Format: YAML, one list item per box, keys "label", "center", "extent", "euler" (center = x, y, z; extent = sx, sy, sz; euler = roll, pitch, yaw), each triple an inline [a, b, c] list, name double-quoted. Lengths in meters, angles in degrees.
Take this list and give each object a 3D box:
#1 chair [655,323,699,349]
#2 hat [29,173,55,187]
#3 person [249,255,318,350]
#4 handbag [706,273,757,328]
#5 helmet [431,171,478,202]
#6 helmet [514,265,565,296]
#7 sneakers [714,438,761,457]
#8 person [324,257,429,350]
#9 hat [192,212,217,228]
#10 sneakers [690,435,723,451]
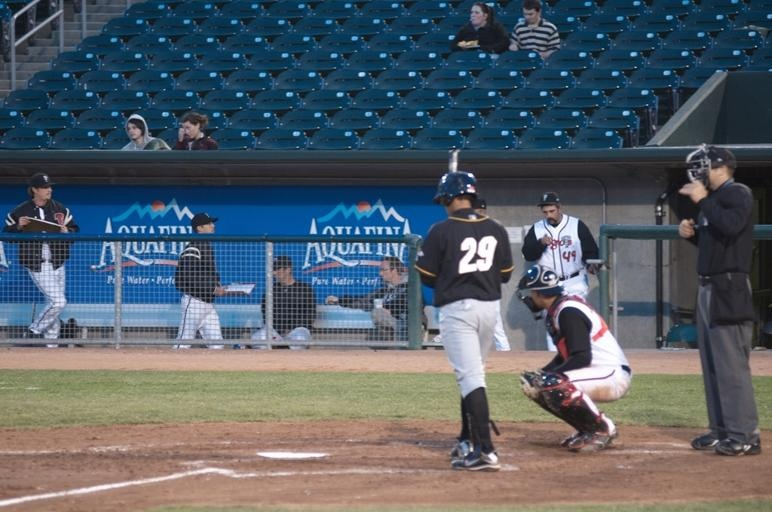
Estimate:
- label: "chair"
  center: [4.410, 1.229, 26.634]
  extent: [0.468, 0.210, 0.482]
  euler: [-3, -4, 37]
- label: "hat"
  center: [-5.159, -1.131, 26.492]
  extent: [0.357, 0.132, 0.207]
  euler: [-3, 4, 6]
- label: "person"
  center: [-1.369, 0.642, 26.333]
  extent: [0.652, 1.269, 0.145]
  euler: [-1, -8, -7]
- label: "handbag"
  center: [4.282, 0.568, 22.081]
  extent: [0.907, 0.664, 0.449]
  euler: [1, -21, 1]
- label: "helmet"
  center: [0.980, -0.850, 22.103]
  extent: [0.511, 0.379, 0.677]
  euler: [-9, 10, -44]
- label: "helmet"
  center: [1.928, 0.307, 22.416]
  extent: [0.572, 0.285, 0.352]
  euler: [12, -11, 3]
- label: "sneakers"
  center: [4.380, 2.414, 22.047]
  extent: [0.614, 0.196, 0.209]
  euler: [3, -4, -4]
- label: "person"
  center: [-0.179, 0.753, 26.931]
  extent: [1.508, 0.949, 1.366]
  euler: [-1, -1, -4]
- label: "hat"
  center: [-2.779, -0.539, 26.947]
  extent: [0.418, 0.145, 0.222]
  euler: [-7, 3, 2]
- label: "sneakers"
  center: [4.025, 2.366, 22.197]
  extent: [0.384, 0.115, 0.175]
  euler: [2, -4, 5]
